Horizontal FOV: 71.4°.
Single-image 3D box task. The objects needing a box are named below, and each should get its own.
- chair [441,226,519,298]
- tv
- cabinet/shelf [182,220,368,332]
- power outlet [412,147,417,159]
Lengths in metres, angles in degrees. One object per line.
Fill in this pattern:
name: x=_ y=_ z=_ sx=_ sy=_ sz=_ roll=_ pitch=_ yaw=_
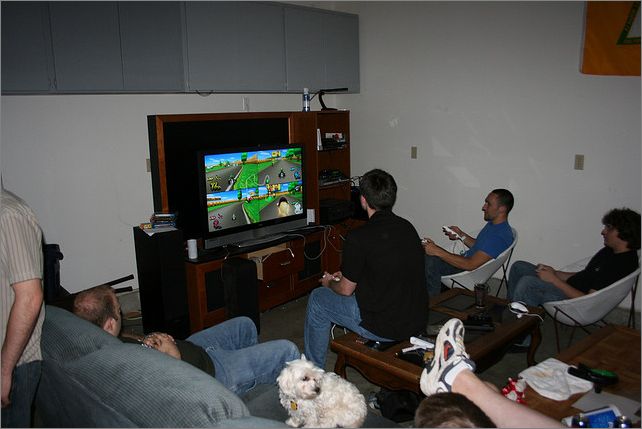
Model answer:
chair: x=1.526 y=0.442 z=4.334 sx=0.621 sy=0.432 sz=0.514 roll=-3 pitch=9 yaw=10
tv: x=-0.747 y=-0.194 z=4.538 sx=1.040 sy=0.768 sz=0.265 roll=-12 pitch=15 yaw=-41
cabinet/shelf: x=-0.442 y=0.517 z=5.046 sx=2.243 sy=0.764 sz=0.624 roll=-14 pitch=18 yaw=-34
power outlet: x=1.206 y=-0.804 z=5.748 sx=0.095 sy=0.146 sz=0.015 roll=3 pitch=13 yaw=38
